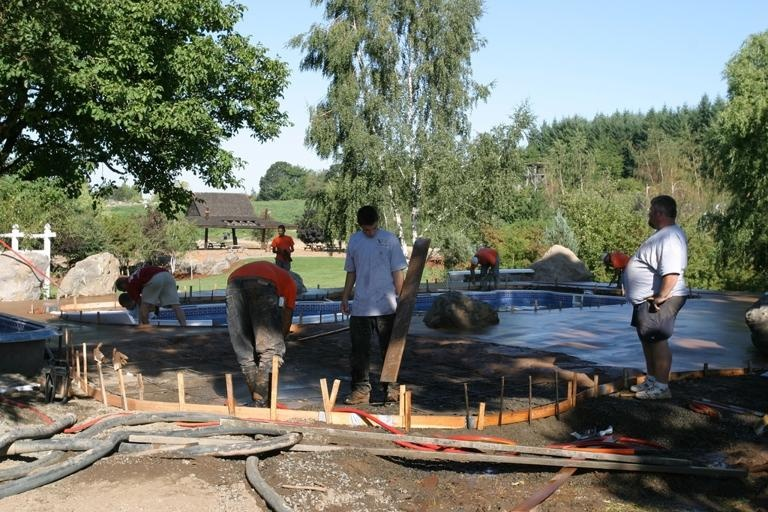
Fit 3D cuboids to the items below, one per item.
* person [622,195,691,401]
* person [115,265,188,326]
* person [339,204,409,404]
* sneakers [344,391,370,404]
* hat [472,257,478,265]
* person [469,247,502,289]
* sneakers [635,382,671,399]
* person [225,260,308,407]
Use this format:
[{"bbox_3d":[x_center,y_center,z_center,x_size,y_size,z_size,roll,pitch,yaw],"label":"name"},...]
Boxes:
[{"bbox_3d":[3.361,0.492,8.851,0.680,2.457,0.716,5,7,36],"label":"person"},{"bbox_3d":[-4.543,0.859,13.703,1.165,1.233,0.628,-7,8,-8],"label":"person"},{"bbox_3d":[-0.120,0.612,9.093,0.743,2.444,0.694,0,6,-4],"label":"person"},{"bbox_3d":[-0.343,1.783,8.952,0.290,0.124,0.143,3,-6,-20],"label":"sneakers"},{"bbox_3d":[2.757,0.144,21.390,0.180,0.281,0.567,1,5,7],"label":"hat"},{"bbox_3d":[3.150,0.385,21.973,0.743,1.267,1.805,2,5,12],"label":"person"},{"bbox_3d":[3.315,1.663,8.810,0.522,0.245,0.182,1,-4,0],"label":"sneakers"},{"bbox_3d":[-1.495,0.930,8.659,0.843,1.661,0.645,-1,6,-11],"label":"person"}]
